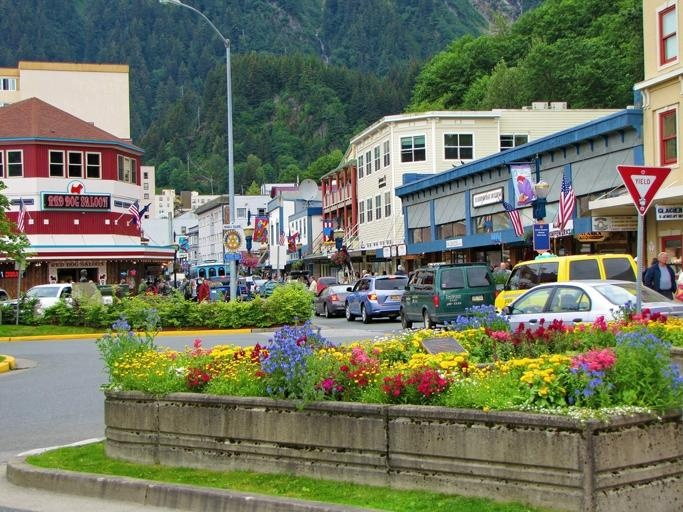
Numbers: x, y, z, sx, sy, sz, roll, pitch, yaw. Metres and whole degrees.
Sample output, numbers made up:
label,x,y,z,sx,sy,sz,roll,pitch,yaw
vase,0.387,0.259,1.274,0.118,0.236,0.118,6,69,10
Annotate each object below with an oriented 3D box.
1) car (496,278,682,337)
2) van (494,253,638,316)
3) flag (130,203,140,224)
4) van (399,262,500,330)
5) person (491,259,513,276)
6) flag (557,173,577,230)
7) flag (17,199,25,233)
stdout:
label,x,y,z,sx,sy,sz,roll,pitch,yaw
car,5.177,1.005,23.809,1.604,1.281,3.413,-1,1,-39
van,5.408,1.097,27.755,3.385,2.029,1.712,-5,-7,44
flag,-11.905,-2.404,64.262,0.537,1.175,1.845,-6,6,-10
van,3.208,1.125,34.207,1.437,1.610,3.040,-1,2,-16
person,6.053,0.498,41.344,0.738,0.503,1.076,-1,5,1
flag,7.592,-1.998,37.722,0.682,2.223,0.161,-10,31,-3
flag,-16.970,-2.124,59.146,0.472,1.658,2.155,-6,5,-15
